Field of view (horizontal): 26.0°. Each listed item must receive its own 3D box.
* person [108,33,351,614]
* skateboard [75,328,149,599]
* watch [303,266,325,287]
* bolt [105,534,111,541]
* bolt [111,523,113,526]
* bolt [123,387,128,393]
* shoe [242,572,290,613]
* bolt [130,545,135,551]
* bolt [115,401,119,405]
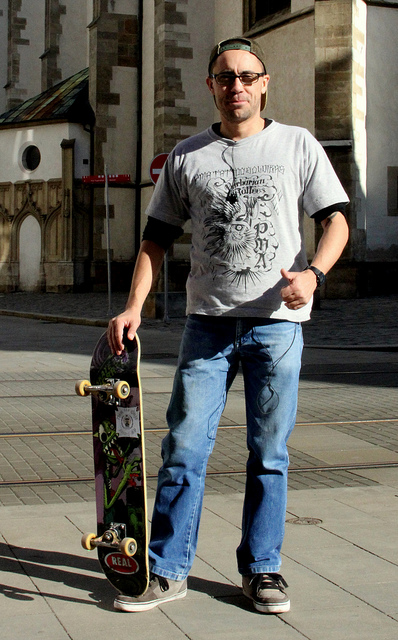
[{"bbox_3d":[0.094,-0.014,2.690,0.687,1.757,0.486,5,4,8],"label":"person"},{"bbox_3d":[-0.248,0.422,2.617,0.329,0.797,0.163,7,4,36],"label":"skateboard"},{"bbox_3d":[0.359,-0.132,2.607,0.046,0.063,0.067,-36,22,-9],"label":"watch"},{"bbox_3d":[-0.272,0.649,2.580,0.012,0.014,0.004,1,-7,14],"label":"bolt"},{"bbox_3d":[-0.264,0.622,2.634,0.007,0.007,0.012,2,-7,16],"label":"bolt"},{"bbox_3d":[-0.215,0.206,2.535,0.014,0.015,0.003,1,5,-36],"label":"bolt"},{"bbox_3d":[0.209,0.815,2.608,0.120,0.088,0.162,3,3,-10],"label":"shoe"},{"bbox_3d":[-0.192,0.663,2.520,0.013,0.012,0.003,1,4,-20],"label":"bolt"},{"bbox_3d":[-0.247,0.251,2.598,0.009,0.009,0.002,4,3,21],"label":"bolt"}]
